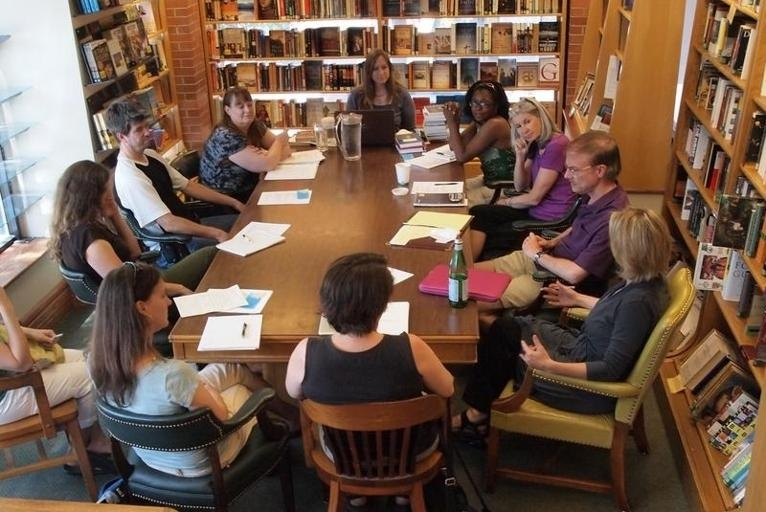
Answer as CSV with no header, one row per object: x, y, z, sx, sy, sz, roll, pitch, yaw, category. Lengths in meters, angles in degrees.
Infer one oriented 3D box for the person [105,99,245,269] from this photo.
-1.508,-0.381,4.141,0.929,1.553,0.748,-1,29,-8,person

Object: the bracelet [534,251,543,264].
0.974,0.012,3.362,0.056,0.087,0.088,6,-3,10,bracelet

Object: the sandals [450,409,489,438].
0.485,0.991,3.204,0.296,0.110,0.108,12,23,37,sandals

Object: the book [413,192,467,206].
0.404,-0.396,3.804,0.208,0.029,0.170,2,32,4,book

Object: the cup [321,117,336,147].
-0.484,-1.136,4.901,0.159,0.280,0.276,-1,24,0,cup

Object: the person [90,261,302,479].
-1.069,0.512,2.825,0.723,1.112,1.052,1,17,0,person

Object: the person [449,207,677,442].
0.968,0.431,2.962,0.990,1.466,0.761,9,18,24,person

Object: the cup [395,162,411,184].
0.153,-0.628,4.115,0.145,0.160,0.149,-1,21,1,cup

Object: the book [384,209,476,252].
0.300,-0.167,3.455,0.280,0.045,0.412,5,34,20,book

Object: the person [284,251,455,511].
-0.080,0.354,2.207,0.705,0.680,0.295,0,21,9,person
